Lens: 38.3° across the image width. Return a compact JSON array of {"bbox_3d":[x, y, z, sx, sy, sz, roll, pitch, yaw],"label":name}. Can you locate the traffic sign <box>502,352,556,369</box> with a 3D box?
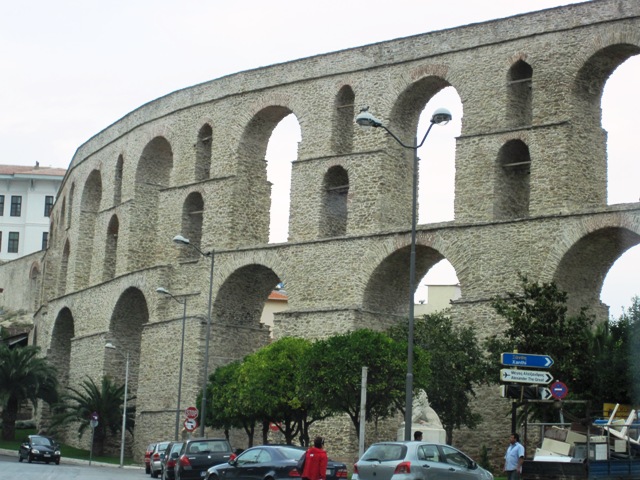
[{"bbox_3d":[5.948,3.471,26.931,1.535,0.414,0.587,3,-15,-8],"label":"traffic sign"}]

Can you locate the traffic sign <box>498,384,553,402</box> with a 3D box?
[{"bbox_3d":[6.046,4.427,26.924,1.229,0.405,0.348,4,-21,-9],"label":"traffic sign"}]

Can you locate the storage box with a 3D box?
[{"bbox_3d":[7.322,5.829,26.430,1.855,1.049,1.775,5,-10,-32],"label":"storage box"}]
